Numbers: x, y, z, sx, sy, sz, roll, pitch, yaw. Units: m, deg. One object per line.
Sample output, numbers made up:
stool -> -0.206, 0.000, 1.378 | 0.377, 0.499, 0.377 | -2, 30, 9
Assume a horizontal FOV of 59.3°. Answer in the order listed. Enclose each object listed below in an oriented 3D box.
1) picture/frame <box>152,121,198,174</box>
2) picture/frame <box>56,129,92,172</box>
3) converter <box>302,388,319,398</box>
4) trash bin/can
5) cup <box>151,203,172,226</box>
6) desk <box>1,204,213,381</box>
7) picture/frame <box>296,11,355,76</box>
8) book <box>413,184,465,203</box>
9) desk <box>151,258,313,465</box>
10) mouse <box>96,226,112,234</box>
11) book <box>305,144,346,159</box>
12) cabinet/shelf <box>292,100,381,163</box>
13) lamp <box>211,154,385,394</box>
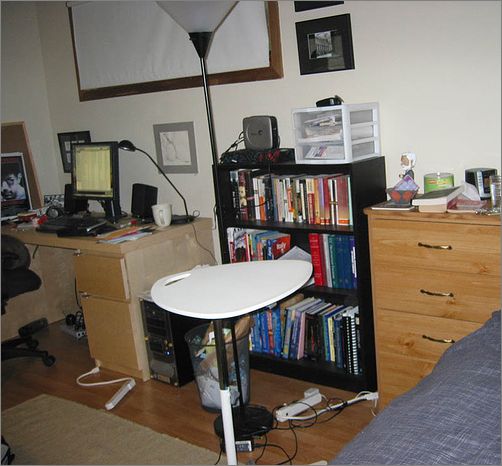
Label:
picture/frame -> -0.510, -0.572, 2.961 | 0.004, 0.313, 0.341 | -3, 7, 40
picture/frame -> -1.309, -0.626, 3.269 | 0.422, 0.399, 0.043 | 9, 18, 28
converter -> 0.296, 0.769, 2.122 | 0.035, 0.028, 0.064 | -2, 2, 39
trash bin/can -> -0.129, 0.636, 2.249 | 0.421, 0.405, 0.413 | -4, 10, 6
cup -> -0.527, -0.104, 2.632 | 0.094, 0.099, 0.138 | 0, 17, 0
desk -> -0.836, 0.321, 3.023 | 1.679, 0.970, 0.976 | 7, 13, 34
picture/frame -> 0.387, -0.967, 2.227 | 0.376, 0.311, 0.039 | 4, 18, 38
book -> 0.737, -0.143, 1.761 | 0.097, 0.026, 0.141 | 1, 16, 44
desk -> -0.073, 0.596, 1.932 | 0.625, 0.688, 0.616 | 9, 29, 29
mouse -> -0.882, -0.020, 2.662 | 0.053, 0.018, 0.071 | 2, 11, 14
book -> 0.347, -0.375, 2.049 | 0.055, 0.069, 0.203 | -15, 15, -36
cabinet/shelf -> 0.424, -0.475, 2.156 | 0.360, 0.257, 0.355 | 4, 15, 35
lamp -> 0.143, 0.199, 2.254 | 0.886, 1.062, 0.279 | -1, 4, 11
